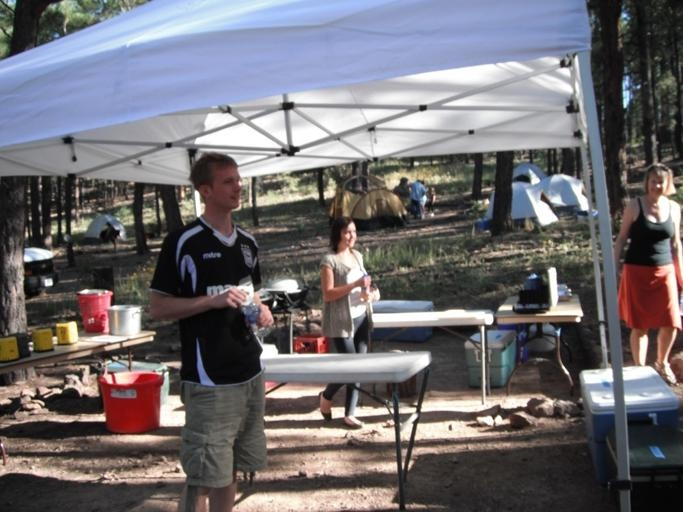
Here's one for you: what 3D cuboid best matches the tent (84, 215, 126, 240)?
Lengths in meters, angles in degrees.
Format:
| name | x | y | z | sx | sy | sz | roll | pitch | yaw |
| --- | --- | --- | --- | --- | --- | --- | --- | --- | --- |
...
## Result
| name | x | y | z | sx | sy | sz | roll | pitch | yaw |
| --- | --- | --- | --- | --- | --- | --- | --- | --- | --- |
| tent | -6.657 | -0.824 | 23.016 | 0.749 | 0.610 | 0.813 | -6 | 3 | -1 |

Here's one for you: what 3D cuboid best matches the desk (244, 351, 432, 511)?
| name | x | y | z | sx | sy | sz | roll | pitch | yaw |
| --- | --- | --- | --- | --- | --- | --- | --- | --- | --- |
| desk | 0.143 | 1.813 | 8.029 | 1.900 | 1.353 | 1.259 | -1 | 1 | 22 |

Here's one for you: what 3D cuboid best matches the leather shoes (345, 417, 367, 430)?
| name | x | y | z | sx | sy | sz | roll | pitch | yaw |
| --- | --- | --- | --- | --- | --- | --- | --- | --- | --- |
| leather shoes | 0.163 | 1.838 | 8.905 | 0.253 | 0.110 | 0.098 | 0 | 4 | 38 |

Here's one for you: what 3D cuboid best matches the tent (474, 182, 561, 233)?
| name | x | y | z | sx | sy | sz | roll | pitch | yaw |
| --- | --- | --- | --- | --- | --- | --- | --- | --- | --- |
| tent | 4.157 | -1.155 | 18.808 | 1.272 | 0.662 | 1.372 | -5 | 10 | -10 |

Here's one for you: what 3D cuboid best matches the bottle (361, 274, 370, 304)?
| name | x | y | z | sx | sy | sz | roll | pitch | yaw |
| --- | --- | --- | --- | --- | --- | --- | --- | --- | --- |
| bottle | 0.257 | 0.357 | 8.688 | 0.086 | 0.328 | 0.217 | -3 | 11 | 1 |

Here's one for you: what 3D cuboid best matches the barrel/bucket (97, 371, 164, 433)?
| name | x | y | z | sx | sy | sz | roll | pitch | yaw |
| --- | --- | --- | --- | --- | --- | --- | --- | --- | --- |
| barrel/bucket | -2.354 | 1.641 | 9.166 | 0.669 | 0.548 | 0.654 | 2 | 3 | 0 |

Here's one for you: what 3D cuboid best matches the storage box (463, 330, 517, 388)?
| name | x | y | z | sx | sy | sz | roll | pitch | yaw |
| --- | --- | --- | --- | --- | --- | --- | --- | --- | --- |
| storage box | 1.845 | 1.298 | 10.089 | 0.481 | 0.555 | 0.783 | 0 | 1 | 15 |

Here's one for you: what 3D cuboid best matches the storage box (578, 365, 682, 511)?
| name | x | y | z | sx | sy | sz | roll | pitch | yaw |
| --- | --- | --- | --- | --- | --- | --- | --- | --- | --- |
| storage box | 2.579 | 1.409 | 7.541 | 0.867 | 0.827 | 1.594 | -4 | 5 | 10 |

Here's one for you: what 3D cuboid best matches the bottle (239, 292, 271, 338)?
| name | x | y | z | sx | sy | sz | roll | pitch | yaw |
| --- | --- | --- | --- | --- | --- | --- | --- | --- | --- |
| bottle | -0.648 | 0.463 | 6.318 | 0.211 | 0.313 | 0.124 | -24 | 8 | 16 |

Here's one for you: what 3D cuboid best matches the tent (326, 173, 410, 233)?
| name | x | y | z | sx | sy | sz | roll | pitch | yaw |
| --- | --- | --- | --- | --- | --- | --- | --- | --- | --- |
| tent | 0.454 | -1.046 | 16.493 | 0.995 | 0.727 | 1.710 | -3 | 11 | -13 |

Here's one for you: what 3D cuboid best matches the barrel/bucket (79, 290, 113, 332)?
| name | x | y | z | sx | sy | sz | roll | pitch | yaw |
| --- | --- | --- | --- | --- | --- | --- | --- | --- | --- |
| barrel/bucket | -2.936 | 0.674 | 9.807 | 0.442 | 0.516 | 0.458 | -2 | -1 | 0 |

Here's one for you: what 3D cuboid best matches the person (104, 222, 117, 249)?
| name | x | y | z | sx | sy | sz | roll | pitch | yaw |
| --- | --- | --- | --- | --- | --- | --- | --- | --- | --- |
| person | -6.402 | -0.524 | 22.801 | 0.351 | 0.757 | 0.849 | -8 | 12 | -23 |

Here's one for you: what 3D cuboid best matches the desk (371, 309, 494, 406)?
| name | x | y | z | sx | sy | sz | roll | pitch | yaw |
| --- | --- | --- | --- | --- | --- | --- | --- | --- | --- |
| desk | 1.158 | 1.303 | 9.680 | 1.647 | 1.153 | 0.974 | -1 | -3 | 15 |

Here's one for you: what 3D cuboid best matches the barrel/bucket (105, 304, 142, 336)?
| name | x | y | z | sx | sy | sz | roll | pitch | yaw |
| --- | --- | --- | --- | --- | --- | --- | --- | --- | --- |
| barrel/bucket | -2.536 | 0.752 | 9.486 | 0.357 | 0.278 | 0.341 | 0 | -1 | 0 |

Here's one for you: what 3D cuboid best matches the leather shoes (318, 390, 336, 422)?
| name | x | y | z | sx | sy | sz | roll | pitch | yaw |
| --- | --- | --- | --- | --- | --- | --- | --- | --- | --- |
| leather shoes | -0.167 | 1.720 | 9.083 | 0.135 | 0.379 | 0.121 | -8 | 4 | 5 |

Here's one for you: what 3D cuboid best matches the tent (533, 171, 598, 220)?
| name | x | y | z | sx | sy | sz | roll | pitch | yaw |
| --- | --- | --- | --- | --- | --- | --- | --- | --- | --- |
| tent | 4.903 | -1.262 | 18.017 | 1.576 | 0.775 | 1.591 | 3 | 35 | 19 |
